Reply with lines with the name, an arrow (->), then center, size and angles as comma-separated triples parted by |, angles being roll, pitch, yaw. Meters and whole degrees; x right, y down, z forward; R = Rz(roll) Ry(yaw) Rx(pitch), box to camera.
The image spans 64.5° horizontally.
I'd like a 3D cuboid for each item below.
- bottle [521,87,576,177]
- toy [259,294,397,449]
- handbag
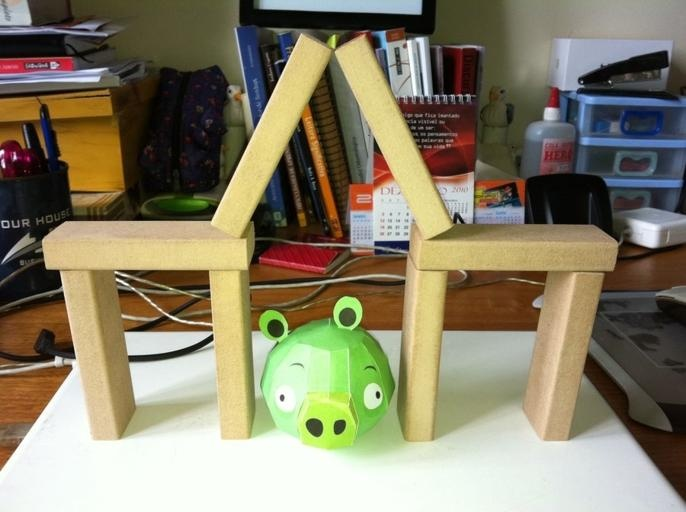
bottle -> 0.395, -0.232, 1.032 | 0.098, 0.163, 0.059 | -3, 21, 2
toy -> -0.014, 0.100, 0.499 | 0.099, 0.112, 0.106 | -19, 28, -37
handbag -> -0.308, -0.232, 1.053 | 0.172, 0.245, 0.082 | 2, -4, -5
